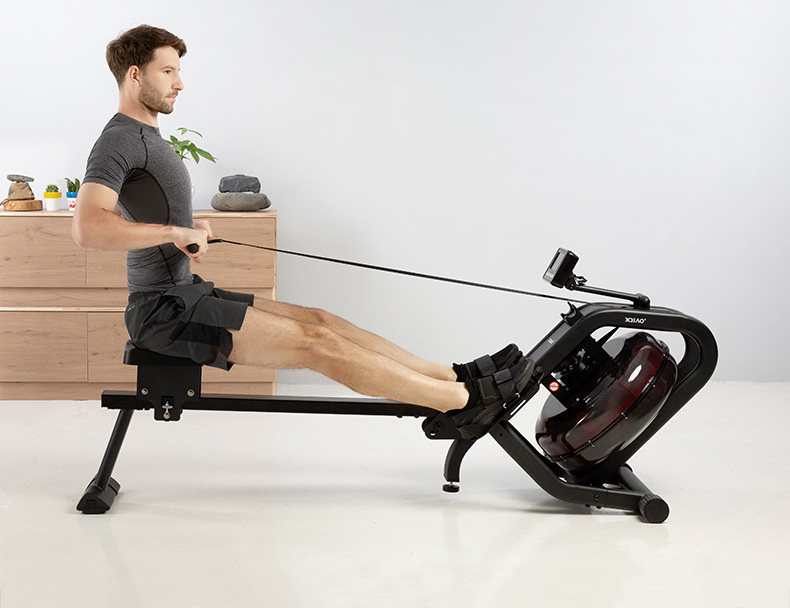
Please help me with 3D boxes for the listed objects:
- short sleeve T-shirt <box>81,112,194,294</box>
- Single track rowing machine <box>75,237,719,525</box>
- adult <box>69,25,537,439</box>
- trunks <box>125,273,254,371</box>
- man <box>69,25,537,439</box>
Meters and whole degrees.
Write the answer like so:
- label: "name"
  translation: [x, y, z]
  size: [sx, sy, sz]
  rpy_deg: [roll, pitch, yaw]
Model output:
- label: "short sleeve T-shirt"
  translation: [-0.872, -0.335, 2.417]
  size: [0.287, 0.616, 0.297]
  rpy_deg: [1, 14, -3]
- label: "Single track rowing machine"
  translation: [0.028, 0.287, 2.681]
  size: [2.286, 0.775, 0.740]
  rpy_deg: [0, 2, -1]
- label: "adult"
  translation: [-0.289, -0.224, 2.589]
  size: [1.749, 1.234, 0.701]
  rpy_deg: [9, 15, -8]
- label: "trunks"
  translation: [-0.726, 0.080, 2.504]
  size: [0.426, 0.155, 0.311]
  rpy_deg: [11, 20, -5]
- label: "man"
  translation: [-0.292, -0.235, 2.669]
  size: [1.735, 1.236, 0.715]
  rpy_deg: [8, 14, -14]
